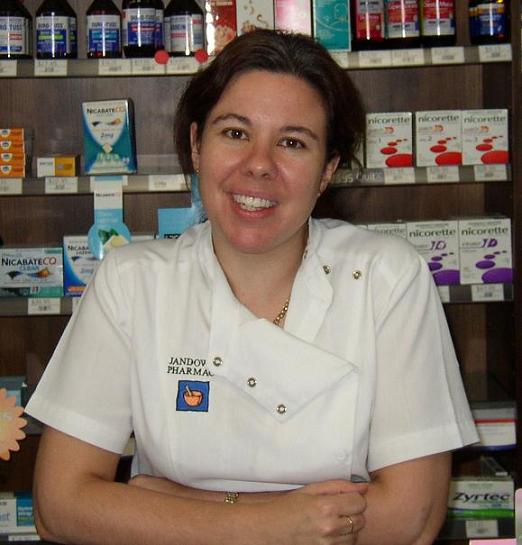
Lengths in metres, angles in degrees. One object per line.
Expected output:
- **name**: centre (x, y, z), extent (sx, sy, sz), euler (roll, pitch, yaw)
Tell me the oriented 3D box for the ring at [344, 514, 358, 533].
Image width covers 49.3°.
- **ring**: centre (0.165, 0.457, 1.031), extent (0.029, 0.025, 0.034), euler (1, -29, -5)
